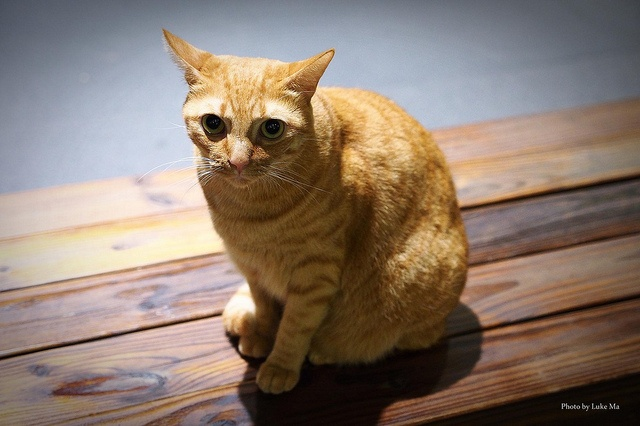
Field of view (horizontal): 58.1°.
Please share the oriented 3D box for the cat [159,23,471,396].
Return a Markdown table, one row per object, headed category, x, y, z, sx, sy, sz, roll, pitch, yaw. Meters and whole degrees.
| category | x | y | z | sx | sy | sz | roll | pitch | yaw |
| --- | --- | --- | --- | --- | --- | --- | --- | --- | --- |
| cat | 0.022 | -0.028 | 2.250 | 1.070 | 1.304 | 0.567 | -6 | 22 | -15 |
